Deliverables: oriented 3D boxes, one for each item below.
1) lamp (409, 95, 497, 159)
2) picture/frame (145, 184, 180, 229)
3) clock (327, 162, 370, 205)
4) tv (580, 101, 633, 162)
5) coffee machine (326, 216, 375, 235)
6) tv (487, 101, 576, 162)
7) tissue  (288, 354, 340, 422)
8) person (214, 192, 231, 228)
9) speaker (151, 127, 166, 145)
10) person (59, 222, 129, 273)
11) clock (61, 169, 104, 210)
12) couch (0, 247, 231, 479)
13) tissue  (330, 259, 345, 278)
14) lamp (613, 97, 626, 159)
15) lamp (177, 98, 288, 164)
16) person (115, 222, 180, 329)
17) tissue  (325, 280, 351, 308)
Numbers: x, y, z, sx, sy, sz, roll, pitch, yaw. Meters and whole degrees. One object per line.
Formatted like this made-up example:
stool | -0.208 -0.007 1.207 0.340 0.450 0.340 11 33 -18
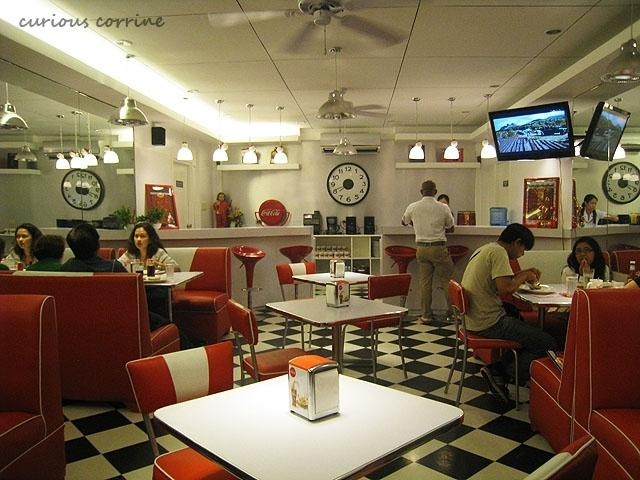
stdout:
lamp | 2.552 -2.234 9.961 1.143 0.902 0.263 -2 5 -8
picture/frame | -2.854 -0.612 9.294 0.788 0.777 0.079 6 13 28
clock | 0.649 -1.211 11.004 0.889 0.905 0.096 -1 5 7
tv | 3.557 -1.334 6.426 0.671 0.650 0.097 -2 24 -34
coffee machine | 0.655 -0.302 10.795 1.059 0.368 0.591 0 10 3
tv | 2.977 -1.496 7.120 1.219 0.885 0.135 2 26 33
tissue  | -0.026 0.785 2.778 0.251 0.285 0.258 2 4 32
person | -2.162 -0.669 11.518 0.421 0.763 0.501 -2 10 -11
speaker | -2.800 -1.808 8.945 0.237 0.328 0.277 -3 10 -18
person | -2.160 0.143 4.801 0.699 0.580 0.309 1 15 3
clock | -3.443 -0.729 7.432 0.110 0.676 0.610 0 5 30
couch | -1.765 0.889 4.630 1.626 1.229 1.613 1 5 8
tissue  | 0.203 0.313 5.498 0.157 0.225 0.173 1 6 4
lamp | 3.717 -1.392 6.381 0.114 0.756 0.493 4 11 22
lamp | -1.459 -2.070 10.349 2.017 1.029 2.295 0 10 0
person | -2.051 0.390 5.941 0.739 1.052 0.767 2 6 25
tissue  | 0.167 0.477 4.483 0.206 0.271 0.195 -1 -1 36
